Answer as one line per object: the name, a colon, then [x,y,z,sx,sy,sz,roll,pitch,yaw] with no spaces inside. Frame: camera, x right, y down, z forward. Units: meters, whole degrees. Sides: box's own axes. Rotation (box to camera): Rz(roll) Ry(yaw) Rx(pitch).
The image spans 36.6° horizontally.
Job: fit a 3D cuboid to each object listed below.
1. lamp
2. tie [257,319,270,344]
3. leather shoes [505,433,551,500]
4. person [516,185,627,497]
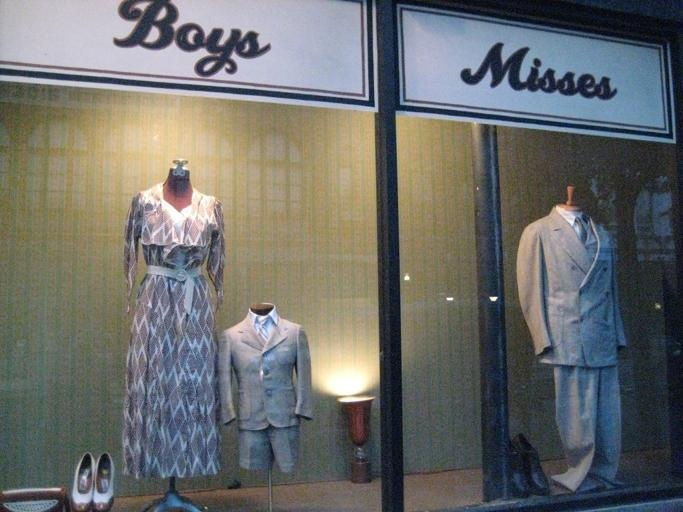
lamp: [0.100,1.110,6.124,0.263,0.480,0.280,-10,-12,28]
tie: [-0.460,0.446,6.003,0.073,0.125,0.028,0,-9,-10]
leather shoes: [1.099,1.277,6.267,0.148,0.434,0.167,-17,-17,-9]
person: [1.405,0.487,6.287,0.644,1.853,0.154,0,-8,-19]
